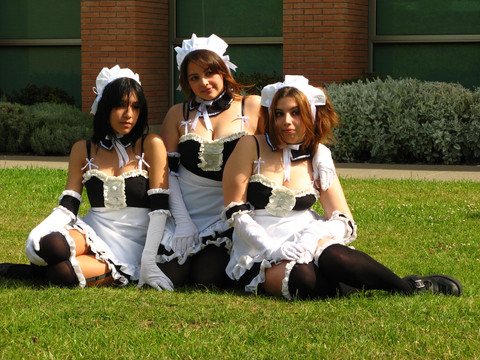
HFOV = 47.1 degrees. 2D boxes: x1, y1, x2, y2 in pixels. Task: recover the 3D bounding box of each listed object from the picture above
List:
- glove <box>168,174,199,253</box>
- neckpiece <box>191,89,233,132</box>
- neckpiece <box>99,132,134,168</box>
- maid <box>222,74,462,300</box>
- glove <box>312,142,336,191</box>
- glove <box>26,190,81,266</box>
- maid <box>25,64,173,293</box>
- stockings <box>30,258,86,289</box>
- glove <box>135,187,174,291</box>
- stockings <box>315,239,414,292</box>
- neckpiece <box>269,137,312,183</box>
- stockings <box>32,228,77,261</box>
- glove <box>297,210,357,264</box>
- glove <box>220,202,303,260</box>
[{"bbox_3d":[-0.463,0.271,4.303,0.199,0.539,0.142,-21,-20,10],"label":"glove"},{"bbox_3d":[-0.289,-0.557,4.361,0.369,0.385,0.199,11,11,-15],"label":"neckpiece"},{"bbox_3d":[-0.956,-0.248,4.248,0.180,0.228,0.229,-18,-18,8],"label":"neckpiece"},{"bbox_3d":[0.681,0.072,3.784,1.764,1.598,1.044,5,4,37],"label":"maid"},{"bbox_3d":[0.612,-0.106,4.093,0.180,0.299,0.090,-26,-23,34],"label":"glove"},{"bbox_3d":[-1.384,0.375,4.093,0.258,0.159,0.542,39,6,-22],"label":"glove"},{"bbox_3d":[-1.037,-0.023,4.069,1.195,1.602,1.117,2,4,-44],"label":"maid"},{"bbox_3d":[-1.352,0.665,4.021,0.364,0.135,0.214,16,-21,-1],"label":"stockings"},{"bbox_3d":[-0.628,0.431,4.105,0.260,0.717,0.320,0,7,-10],"label":"glove"},{"bbox_3d":[0.826,0.606,3.648,0.555,0.214,0.294,14,-15,11],"label":"stockings"},{"bbox_3d":[0.357,-0.142,4.043,0.281,0.284,0.085,10,-15,-20],"label":"neckpiece"},{"bbox_3d":[-1.315,0.485,4.050,0.373,0.181,0.298,15,-12,-42],"label":"stockings"},{"bbox_3d":[0.602,0.395,3.888,0.281,0.203,0.422,1,18,25],"label":"glove"},{"bbox_3d":[0.161,0.364,3.897,0.624,0.369,0.131,6,8,35],"label":"glove"}]
